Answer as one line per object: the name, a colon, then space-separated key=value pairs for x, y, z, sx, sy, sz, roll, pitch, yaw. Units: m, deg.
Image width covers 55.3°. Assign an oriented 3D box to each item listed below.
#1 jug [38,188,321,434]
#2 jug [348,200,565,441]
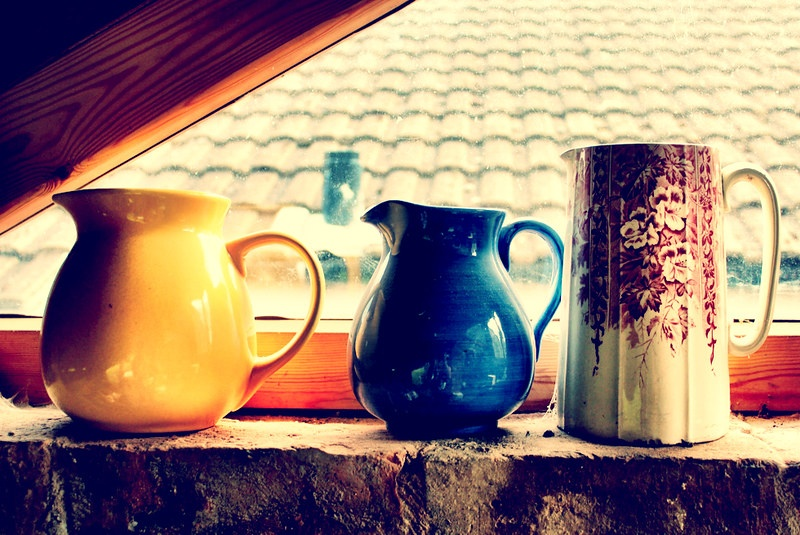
jug: x=-0.378 y=0.080 z=1.400 sx=0.425 sy=0.366 sz=0.318 roll=2 pitch=-5 yaw=-12
jug: x=0.108 y=0.081 z=1.387 sx=0.401 sy=0.386 sz=0.316 roll=-2 pitch=2 yaw=-26
